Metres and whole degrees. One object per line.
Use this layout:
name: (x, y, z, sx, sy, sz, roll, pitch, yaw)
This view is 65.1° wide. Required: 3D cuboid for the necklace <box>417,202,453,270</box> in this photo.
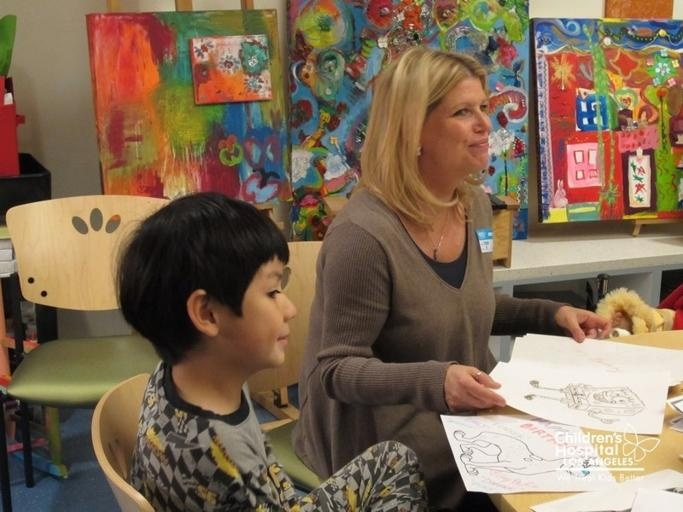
necklace: (0.239, -0.049, 1.373, 0.107, 0.143, 0.029, -4, 2, -29)
